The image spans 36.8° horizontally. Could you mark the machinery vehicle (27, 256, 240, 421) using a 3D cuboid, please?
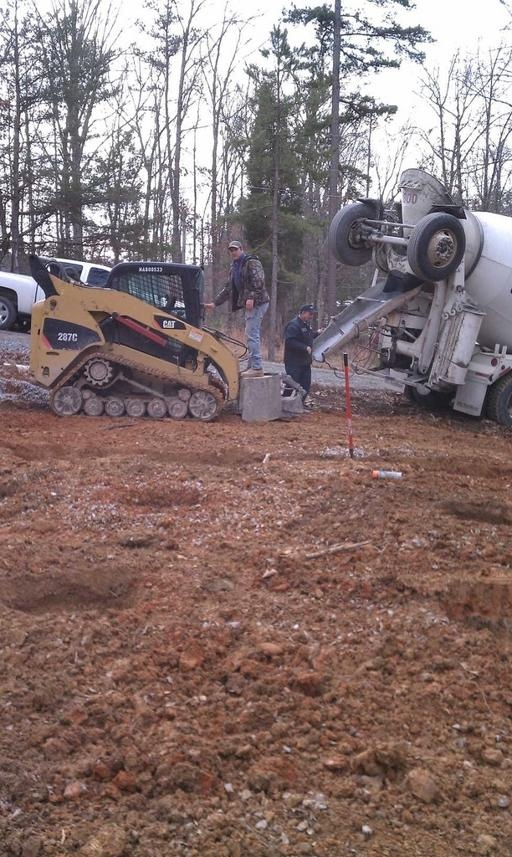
[{"bbox_3d":[-1.595,-1.252,10.291,2.614,1.991,1.259,1,15,-11],"label":"machinery vehicle"}]

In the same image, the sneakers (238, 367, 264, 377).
[{"bbox_3d":[-0.039,-0.772,10.521,0.372,0.193,0.128,4,1,4],"label":"sneakers"}]
